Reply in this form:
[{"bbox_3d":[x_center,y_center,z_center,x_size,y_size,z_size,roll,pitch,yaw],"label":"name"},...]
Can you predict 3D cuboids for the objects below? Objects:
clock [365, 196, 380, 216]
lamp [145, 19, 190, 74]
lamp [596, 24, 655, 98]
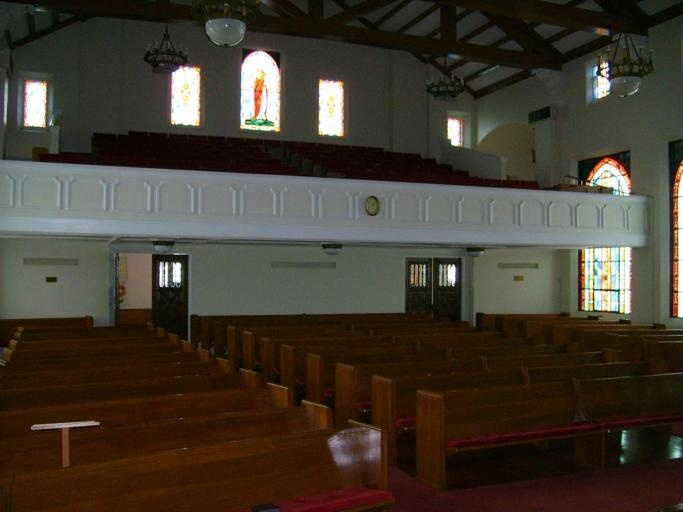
[{"bbox_3d":[0.616,-0.970,11.329,0.293,0.398,0.080,1,4,-9],"label":"clock"},{"bbox_3d":[-3.913,-4.750,12.692,0.769,1.206,0.792,-2,-3,14],"label":"lamp"},{"bbox_3d":[5.086,-3.552,10.258,0.780,1.426,0.851,2,-1,35],"label":"lamp"}]
